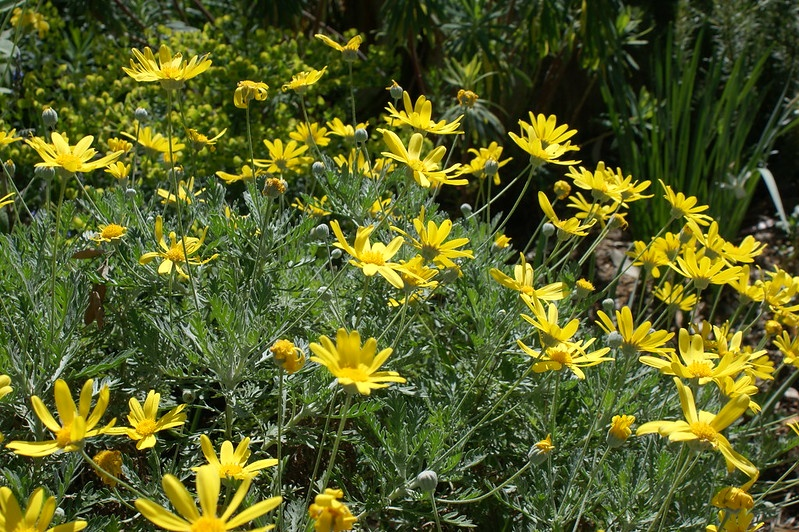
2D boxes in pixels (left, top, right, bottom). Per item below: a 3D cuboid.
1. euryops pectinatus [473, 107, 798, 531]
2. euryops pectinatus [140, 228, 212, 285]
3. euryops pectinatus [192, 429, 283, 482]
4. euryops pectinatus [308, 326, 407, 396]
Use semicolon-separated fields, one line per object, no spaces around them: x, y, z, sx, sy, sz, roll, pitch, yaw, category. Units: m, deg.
0.966;0.219;3.172;1.048;1.098;1.262;37;78;30;euryops pectinatus
-0.767;-0.040;2.766;0.180;0.073;0.186;-31;76;-22;euryops pectinatus
-0.477;0.582;2.372;0.214;0.248;0.088;19;90;3;euryops pectinatus
-0.138;0.274;2.318;0.209;0.086;0.223;21;38;-25;euryops pectinatus
